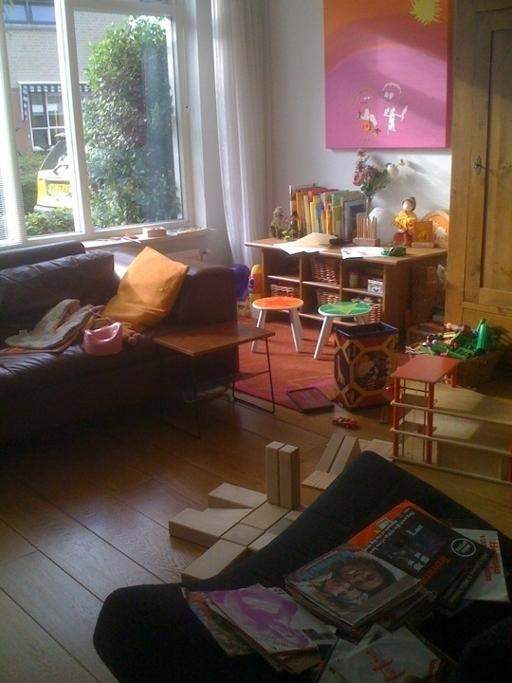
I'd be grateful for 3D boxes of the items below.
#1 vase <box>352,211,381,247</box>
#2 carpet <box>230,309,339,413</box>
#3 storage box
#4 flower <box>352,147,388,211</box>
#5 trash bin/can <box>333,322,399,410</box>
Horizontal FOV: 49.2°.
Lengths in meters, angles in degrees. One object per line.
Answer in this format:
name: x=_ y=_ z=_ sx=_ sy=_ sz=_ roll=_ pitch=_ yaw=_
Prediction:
vase: x=0.740 y=-0.760 z=3.793 sx=0.089 sy=0.252 sz=0.230 roll=-24 pitch=30 yaw=-39
carpet: x=0.167 y=0.147 z=3.281 sx=0.435 sy=0.156 sz=0.621 roll=-18 pitch=23 yaw=-29
storage box: x=0.528 y=0.133 z=2.673 sx=0.368 sy=0.437 sz=0.253 roll=-10 pitch=17 yaw=-24
flower: x=0.789 y=-1.110 z=3.844 sx=0.224 sy=0.416 sz=0.307 roll=-3 pitch=12 yaw=10
trash bin/can: x=0.528 y=0.125 z=2.678 sx=0.362 sy=0.423 sz=0.239 roll=-9 pitch=17 yaw=-25
